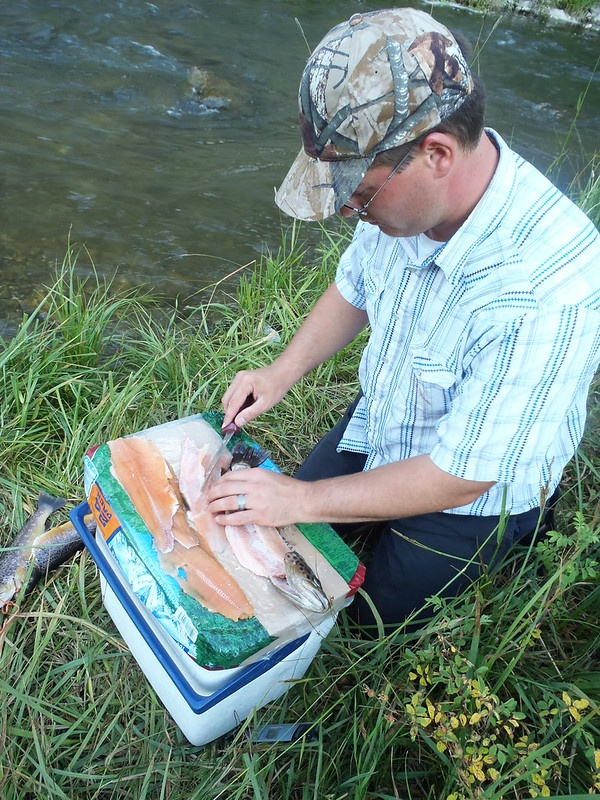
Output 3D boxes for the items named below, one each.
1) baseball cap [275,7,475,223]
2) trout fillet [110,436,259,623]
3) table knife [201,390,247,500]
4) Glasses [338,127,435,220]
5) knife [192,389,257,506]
[{"bbox_3d":[0.181,-0.653,1.705,0.385,0.478,0.225,8,33,-4],"label":"baseball cap"},{"bbox_3d":[-0.382,0.315,1.869,0.202,0.087,0.651,-23,59,-41],"label":"trout fillet"},{"bbox_3d":[-0.210,0.144,2.085,0.041,0.047,0.293,48,38,-15],"label":"table knife"},{"bbox_3d":[0.206,-0.524,1.714,0.154,0.143,0.042,-37,95,-10],"label":"Glasses"},{"bbox_3d":[-0.208,0.125,2.123,0.064,0.038,0.411,41,37,-8],"label":"knife"}]
